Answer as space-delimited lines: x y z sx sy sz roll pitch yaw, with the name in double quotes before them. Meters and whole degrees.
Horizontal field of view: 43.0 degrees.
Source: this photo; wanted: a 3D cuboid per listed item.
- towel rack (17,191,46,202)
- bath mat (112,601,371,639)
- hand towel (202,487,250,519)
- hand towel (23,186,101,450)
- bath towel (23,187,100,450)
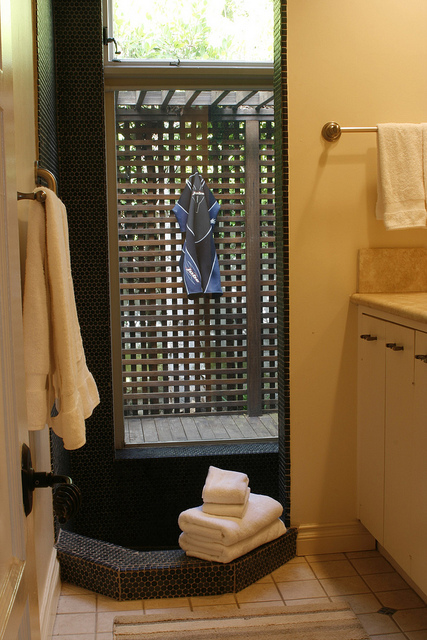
"towel rack" -0.361 -0.247 1.095 0.057 0.021 0.037 -1 19 -7
"bath mat" 0.068 0.880 1.566 0.720 0.018 0.208 -1 0 -4
"hand towel" 0.046 0.634 1.907 0.132 0.075 0.147 6 8 16
"hand towel" -0.356 0.006 1.205 0.102 0.521 0.332 2 10 -7
"bath towel" -0.355 -0.006 1.271 0.151 0.558 0.309 -1 0 -13
